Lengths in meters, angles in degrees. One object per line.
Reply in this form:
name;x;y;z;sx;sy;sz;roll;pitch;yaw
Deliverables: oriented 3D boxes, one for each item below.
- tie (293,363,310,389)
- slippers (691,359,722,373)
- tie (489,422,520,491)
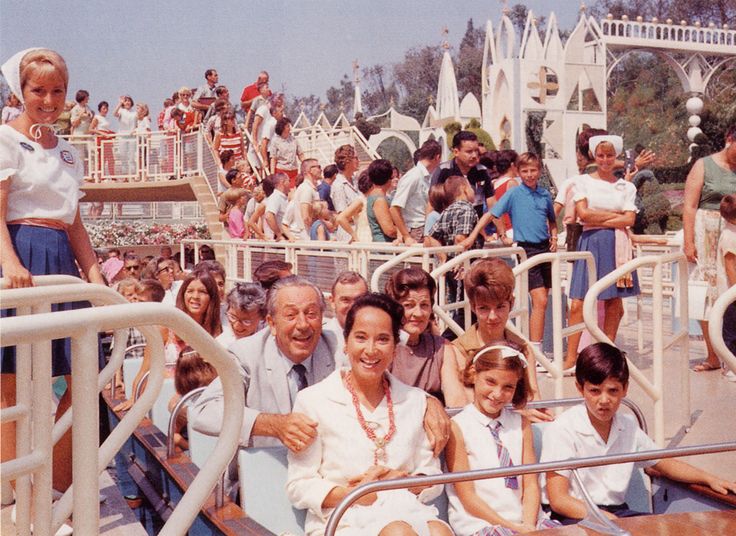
tie;-0.363;0.594;4.887;0.076;0.140;0.037;-9;2;-23
slippers;3.133;0.893;8.037;0.250;0.106;0.100;2;-4;0
tie;0.718;0.974;4.618;0.112;0.401;0.042;-8;-28;-12
